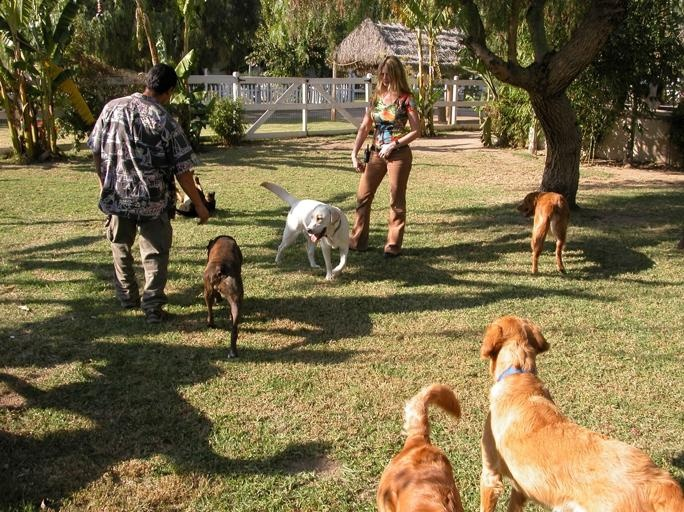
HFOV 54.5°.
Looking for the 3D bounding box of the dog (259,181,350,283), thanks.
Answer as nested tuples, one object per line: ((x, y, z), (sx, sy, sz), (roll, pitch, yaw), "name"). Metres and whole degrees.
((-0.620, -0.330, 9.184), (0.685, 1.051, 2.187), (-6, 16, -30), "dog")

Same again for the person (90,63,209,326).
((-2.139, -0.663, 7.284), (1.139, 2.820, 0.451), (1, 10, 10), "person")

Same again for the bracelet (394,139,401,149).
((0.734, -1.509, 8.850), (0.046, 0.092, 0.091), (0, 56, -1), "bracelet")
